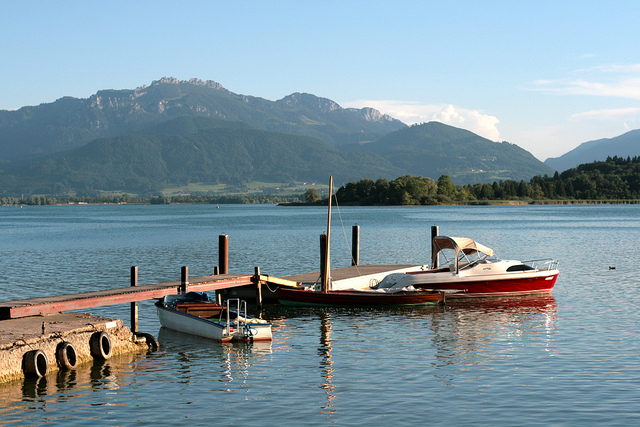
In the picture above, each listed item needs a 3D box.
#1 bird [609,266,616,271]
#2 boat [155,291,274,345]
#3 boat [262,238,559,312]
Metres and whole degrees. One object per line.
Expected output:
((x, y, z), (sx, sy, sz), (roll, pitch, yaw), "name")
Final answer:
((29.097, 5.486, 78.229), (0.893, 0.506, 0.303), (9, -3, -18), "bird")
((-8.063, 7.100, 55.140), (4.380, 2.956, 9.461), (0, 3, -44), "boat")
((8.268, 4.809, 64.491), (21.283, 5.134, 6.672), (-1, 1, -21), "boat")
